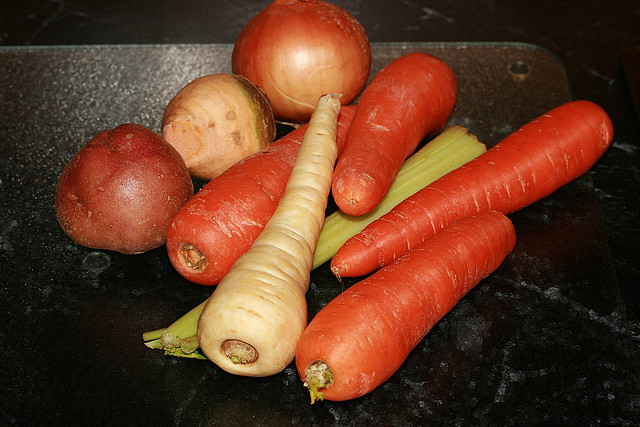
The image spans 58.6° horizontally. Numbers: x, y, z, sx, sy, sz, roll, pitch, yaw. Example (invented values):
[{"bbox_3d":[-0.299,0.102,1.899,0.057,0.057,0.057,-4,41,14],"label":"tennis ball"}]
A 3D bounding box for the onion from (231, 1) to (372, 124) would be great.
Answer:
[{"bbox_3d":[-0.105,-0.536,1.986,0.326,0.358,0.474,16,29,37],"label":"onion"}]
